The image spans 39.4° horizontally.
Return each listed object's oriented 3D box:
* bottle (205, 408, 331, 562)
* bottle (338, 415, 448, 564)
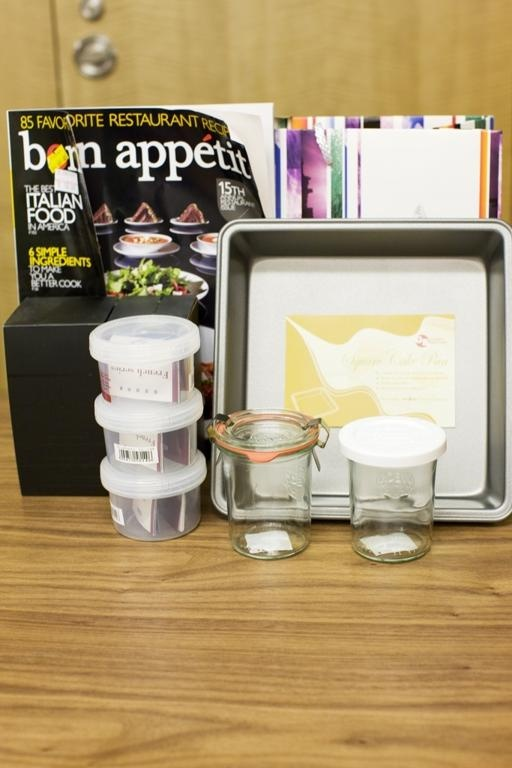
[{"bbox_3d":[0.012,0.099,0.710,0.121,0.132,0.103,0,14,4],"label":"bottle"},{"bbox_3d":[0.110,0.094,0.716,0.128,0.138,0.123,3,23,9],"label":"bottle"}]
